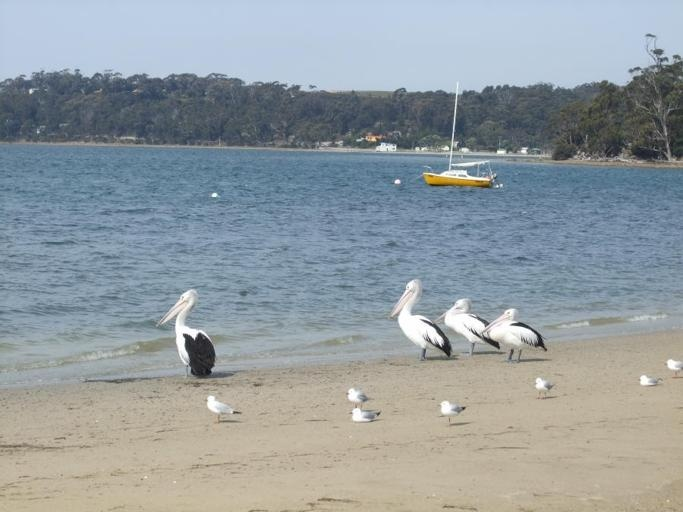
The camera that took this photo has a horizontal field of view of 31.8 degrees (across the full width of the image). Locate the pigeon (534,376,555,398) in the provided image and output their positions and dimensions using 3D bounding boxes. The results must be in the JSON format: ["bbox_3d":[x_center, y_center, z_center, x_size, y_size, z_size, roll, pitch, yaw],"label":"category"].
[{"bbox_3d":[4.162,2.675,24.500,0.394,0.391,0.734,3,10,10],"label":"pigeon"}]

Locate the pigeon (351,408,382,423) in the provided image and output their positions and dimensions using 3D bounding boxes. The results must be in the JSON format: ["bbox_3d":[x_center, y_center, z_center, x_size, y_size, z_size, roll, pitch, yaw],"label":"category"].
[{"bbox_3d":[0.494,3.119,23.432,0.581,0.262,0.565,1,10,1],"label":"pigeon"}]

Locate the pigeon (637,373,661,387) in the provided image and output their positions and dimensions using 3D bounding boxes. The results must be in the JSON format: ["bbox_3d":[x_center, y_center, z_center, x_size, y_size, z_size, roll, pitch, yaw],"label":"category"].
[{"bbox_3d":[6.357,2.617,24.876,0.252,0.200,0.344,-1,-16,-43],"label":"pigeon"}]

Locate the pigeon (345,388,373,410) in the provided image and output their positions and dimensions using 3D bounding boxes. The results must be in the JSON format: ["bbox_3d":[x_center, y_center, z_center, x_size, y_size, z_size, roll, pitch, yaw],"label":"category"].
[{"bbox_3d":[0.365,2.866,24.003,0.274,0.298,0.527,-3,0,27],"label":"pigeon"}]
